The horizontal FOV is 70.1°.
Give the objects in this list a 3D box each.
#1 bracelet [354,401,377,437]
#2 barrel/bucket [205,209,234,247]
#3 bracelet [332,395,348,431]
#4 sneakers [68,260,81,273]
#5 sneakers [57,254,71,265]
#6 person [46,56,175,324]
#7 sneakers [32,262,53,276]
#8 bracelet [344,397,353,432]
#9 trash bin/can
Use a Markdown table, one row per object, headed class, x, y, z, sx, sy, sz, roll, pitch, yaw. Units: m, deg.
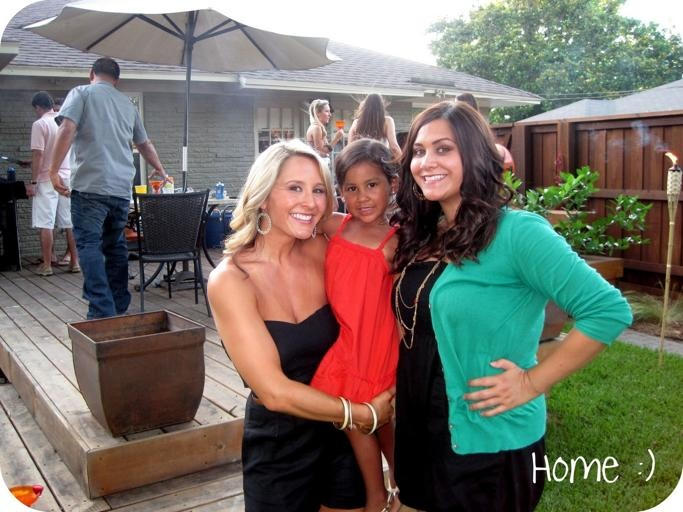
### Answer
| class | x | y | z | sx | sy | sz | roll | pitch | yaw |
| --- | --- | --- | --- | --- | --- | --- | --- | --- | --- |
| bracelet | 0.076 | 0.608 | 1.809 | 0.025 | 0.102 | 0.103 | -7 | -16 | 11 |
| barrel/bucket | -2.135 | -0.514 | 8.339 | 0.451 | 0.612 | 0.423 | 8 | 11 | -2 |
| bracelet | -0.007 | 0.567 | 1.733 | 0.033 | 0.098 | 0.074 | -3 | -7 | -2 |
| sneakers | -3.304 | 0.135 | 6.066 | 0.148 | 0.169 | 0.357 | -1 | -4 | -28 |
| sneakers | -4.057 | 0.057 | 7.158 | 0.173 | 0.116 | 0.433 | -1 | 1 | -19 |
| person | -1.954 | -0.572 | 3.976 | 0.679 | 2.201 | 1.052 | -1 | 11 | -8 |
| sneakers | -3.893 | 0.156 | 6.377 | 0.168 | 0.179 | 0.422 | -3 | 6 | -38 |
| bracelet | 0.024 | 0.570 | 1.755 | 0.029 | 0.086 | 0.065 | -5 | -2 | 1 |
| trash bin/can | -1.094 | 0.609 | 2.733 | 0.718 | 0.579 | 0.596 | -3 | 5 | -31 |
